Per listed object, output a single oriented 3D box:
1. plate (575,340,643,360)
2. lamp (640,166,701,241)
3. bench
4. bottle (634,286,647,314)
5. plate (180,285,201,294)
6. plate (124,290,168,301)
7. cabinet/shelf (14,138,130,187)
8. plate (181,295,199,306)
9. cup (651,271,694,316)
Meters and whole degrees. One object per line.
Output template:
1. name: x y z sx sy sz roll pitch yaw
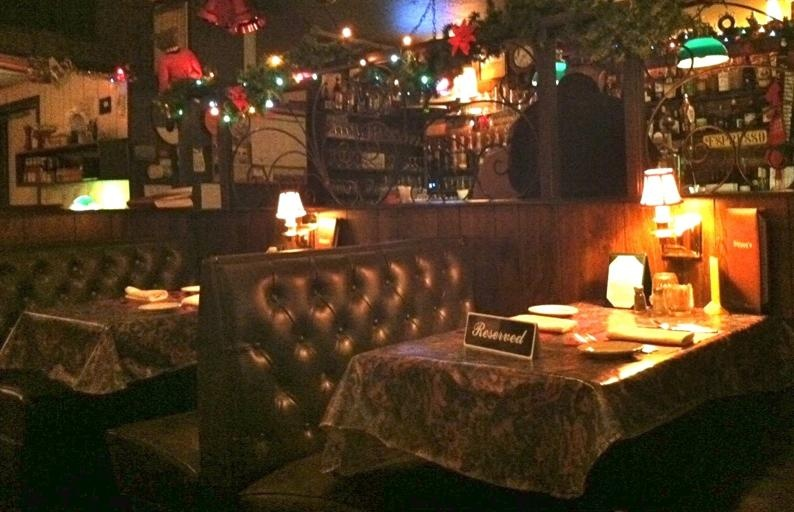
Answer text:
1. plate: 1.087 0.479 3.493 0.333 0.072 0.232 0 0 1
2. lamp: 1.694 -0.325 4.388 0.263 0.398 0.264 -14 11 -34
3. bench: -0.260 0.422 5.202 5.702 1.637 1.701 0 0 24
4. bottle: 1.494 0.264 4.196 0.077 0.150 0.104 0 0 20
5. plate: -1.613 0.268 5.387 0.175 0.039 0.172 -1 3 -37
6. plate: -1.854 0.300 5.123 0.146 0.041 0.149 6 -2 42
7. cabinet/shelf: -5.362 -1.477 11.240 0.811 0.618 3.402 0 1 -41
8. plate: -1.505 0.330 5.024 0.125 0.030 0.131 6 8 40
9. cup: 1.629 0.232 4.064 0.235 0.225 0.241 -2 -2 0
